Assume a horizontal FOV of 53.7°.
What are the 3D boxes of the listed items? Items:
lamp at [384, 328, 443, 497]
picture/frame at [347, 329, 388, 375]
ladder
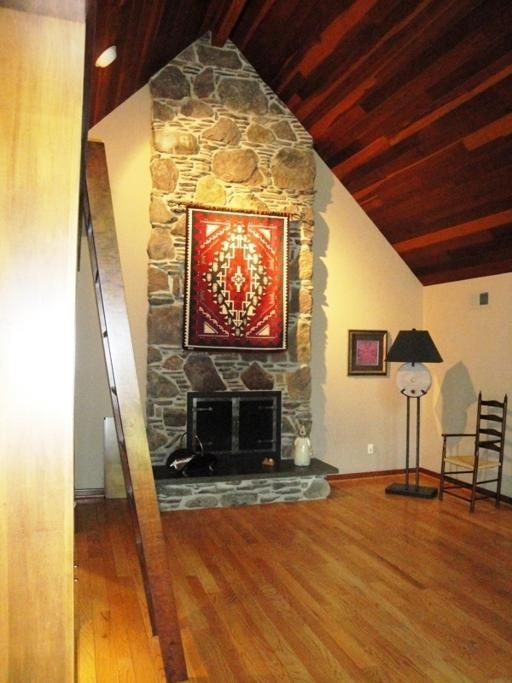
[{"bbox_3d":[1.637,0.711,5.305,0.525,1.671,1.096,1,-2,16],"label":"lamp"},{"bbox_3d":[1.233,0.121,5.713,0.517,0.532,0.038,1,-4,-23],"label":"picture/frame"},{"bbox_3d":[-0.488,0.267,2.024,0.431,2.098,0.458,2,-2,-20],"label":"ladder"}]
